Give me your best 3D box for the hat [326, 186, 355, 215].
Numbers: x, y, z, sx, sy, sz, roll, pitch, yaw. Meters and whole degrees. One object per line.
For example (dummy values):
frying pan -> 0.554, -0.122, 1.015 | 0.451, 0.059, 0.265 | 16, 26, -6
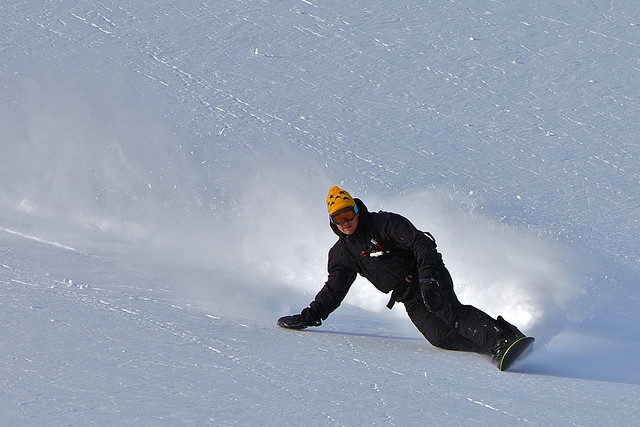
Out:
hat -> 0.217, -0.177, 10.798 | 0.256, 0.293, 0.384 | 60, 11, -6

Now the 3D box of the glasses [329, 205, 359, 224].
glasses -> 0.302, 0.021, 10.668 | 0.257, 0.319, 0.153 | 8, 37, -46

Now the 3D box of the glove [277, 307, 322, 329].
glove -> -0.249, 1.349, 11.045 | 0.664, 0.231, 0.223 | 2, 5, -12
